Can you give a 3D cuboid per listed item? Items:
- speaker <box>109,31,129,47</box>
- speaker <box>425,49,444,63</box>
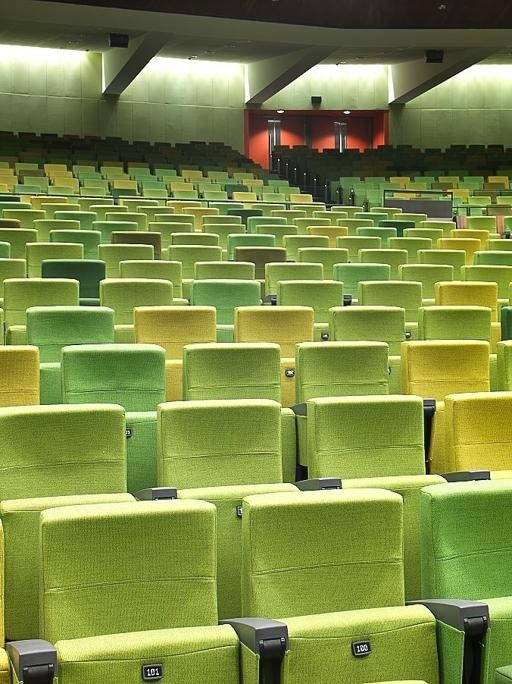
[{"bbox_3d":[-3.426,-7.683,15.873,0.473,0.360,0.292,0,1,-23],"label":"speaker"},{"bbox_3d":[5.054,-8.074,18.063,0.401,0.310,0.425,1,-4,1],"label":"speaker"}]
